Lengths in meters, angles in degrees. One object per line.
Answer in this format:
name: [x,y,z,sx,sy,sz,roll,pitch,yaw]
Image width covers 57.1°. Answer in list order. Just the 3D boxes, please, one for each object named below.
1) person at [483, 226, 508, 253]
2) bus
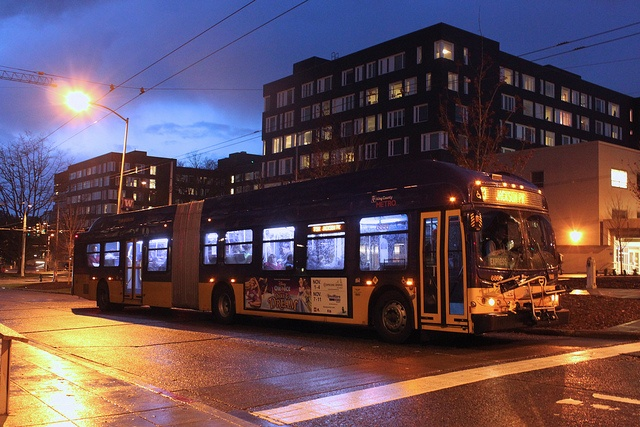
person: [4.319,0.681,14.610,0.916,0.455,0.210,0,-2,-40]
bus: [-2.424,1.544,22.089,5.267,4.943,20.804,5,-10,-40]
